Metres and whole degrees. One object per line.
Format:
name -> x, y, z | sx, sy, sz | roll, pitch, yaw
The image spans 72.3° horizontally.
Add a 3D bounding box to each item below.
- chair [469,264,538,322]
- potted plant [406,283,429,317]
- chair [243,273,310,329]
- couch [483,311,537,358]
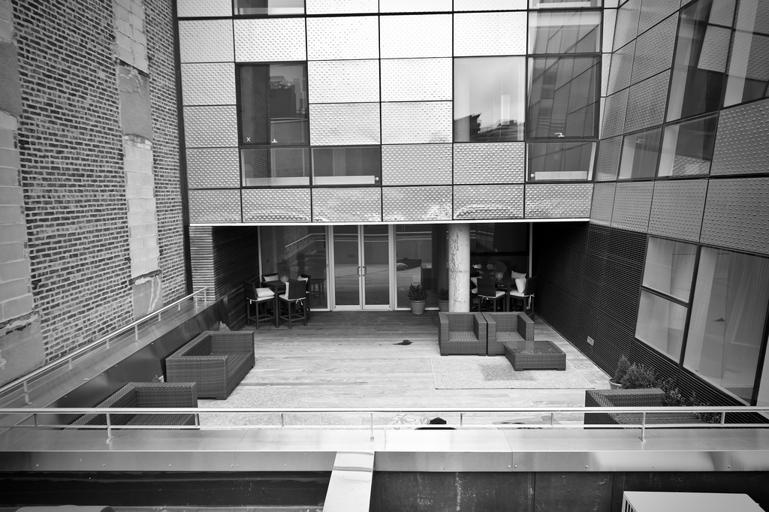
chair -> 3.475, 0.955, 15.588 | 1.684, 1.633, 1.044 | 0, -76, 3
potted plant -> 1.053, 1.429, 16.576 | 0.509, 0.523, 0.715 | -17, -64, -36
chair -> -3.160, 1.352, 15.395 | 1.536, 1.485, 0.976 | -3, -79, -13
couch -> 3.046, 1.943, 13.165 | 1.178, 1.159, 0.811 | -1, -82, -4
